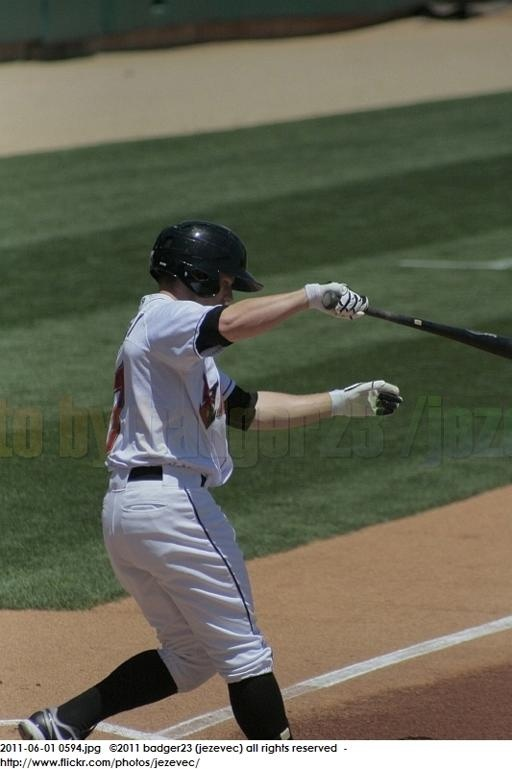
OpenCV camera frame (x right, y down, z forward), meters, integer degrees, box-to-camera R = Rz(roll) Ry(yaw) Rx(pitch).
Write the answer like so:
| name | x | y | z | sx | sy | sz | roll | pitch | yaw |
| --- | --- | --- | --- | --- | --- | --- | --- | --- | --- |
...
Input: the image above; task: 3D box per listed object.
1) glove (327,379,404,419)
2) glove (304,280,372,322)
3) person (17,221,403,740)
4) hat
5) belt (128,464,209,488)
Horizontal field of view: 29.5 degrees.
| name | x | y | z | sx | sy | sz | roll | pitch | yaw |
| --- | --- | --- | --- | --- | --- | --- | --- | --- | --- |
| glove | 0.407 | 0.051 | 3.570 | 0.232 | 0.070 | 0.132 | -1 | 24 | -4 |
| glove | 0.253 | -0.274 | 3.136 | 0.190 | 0.109 | 0.069 | 11 | 20 | -35 |
| person | -0.156 | 0.292 | 3.177 | 0.796 | 1.628 | 1.087 | 5 | 14 | 25 |
| hat | -0.162 | -0.417 | 3.336 | 0.401 | 0.216 | 0.229 | 5 | -7 | -11 |
| belt | -0.269 | 0.288 | 3.031 | 0.243 | 0.077 | 0.083 | -2 | 12 | -8 |
